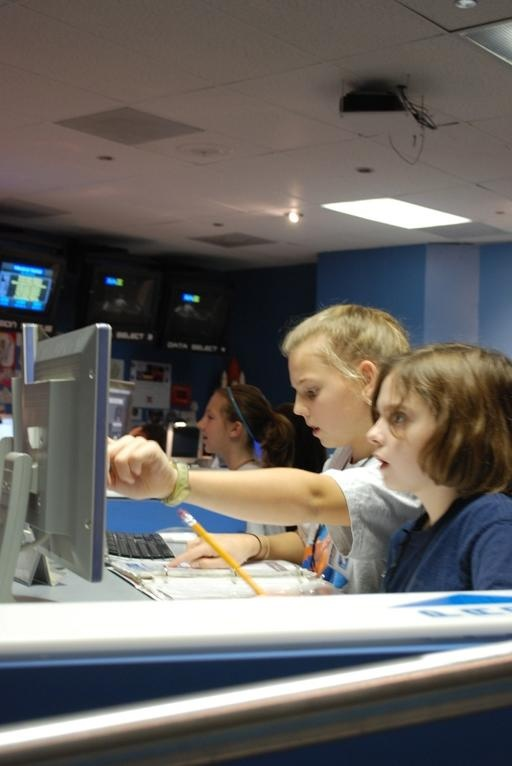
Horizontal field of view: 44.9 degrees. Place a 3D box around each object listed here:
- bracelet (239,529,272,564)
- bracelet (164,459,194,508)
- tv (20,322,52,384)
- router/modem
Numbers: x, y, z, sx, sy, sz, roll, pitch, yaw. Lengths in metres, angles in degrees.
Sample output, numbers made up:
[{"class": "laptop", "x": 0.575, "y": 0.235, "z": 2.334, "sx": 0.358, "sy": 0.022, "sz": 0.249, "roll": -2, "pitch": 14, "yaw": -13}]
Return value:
[{"class": "bracelet", "x": -0.004, "y": 0.536, "z": 2.012, "sx": 0.104, "sy": 0.045, "sz": 0.072, "roll": 2, "pitch": 3, "yaw": -16}, {"class": "bracelet", "x": -0.125, "y": 0.179, "z": 1.051, "sx": 0.034, "sy": 0.066, "sz": 0.052, "roll": -4, "pitch": -11, "yaw": 28}, {"class": "tv", "x": -0.454, "y": -0.059, "z": 1.239, "sx": 0.057, "sy": 0.114, "sz": 0.127, "roll": 2, "pitch": 6, "yaw": -37}, {"class": "router/modem", "x": 0.682, "y": -1.433, "z": 3.263, "sx": 0.323, "sy": 0.110, "sz": 0.196, "roll": -3, "pitch": 6, "yaw": -21}]
